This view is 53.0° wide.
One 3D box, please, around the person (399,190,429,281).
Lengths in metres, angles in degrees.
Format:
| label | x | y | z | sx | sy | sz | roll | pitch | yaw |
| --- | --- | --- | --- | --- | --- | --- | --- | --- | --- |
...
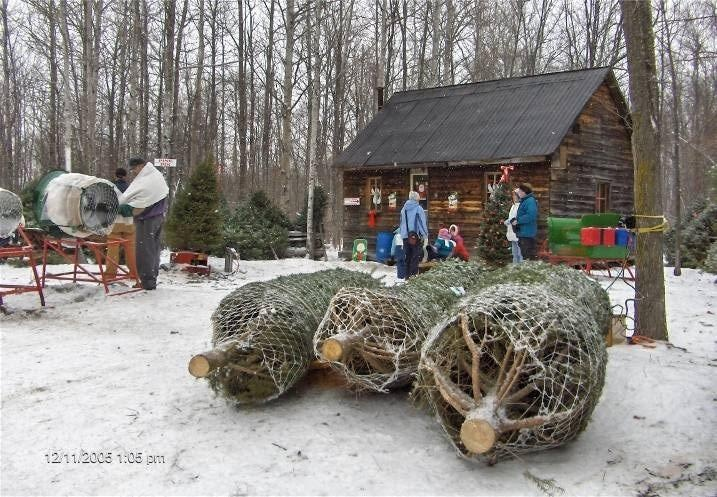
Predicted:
| label | x | y | z | sx | sy | sz | roll | pitch | yaw |
| --- | --- | --- | --- | --- | --- | --- | --- | --- | --- |
| person | 1.455 | -0.381 | 18.673 | 0.646 | 2.172 | 0.663 | 0 | 6 | -20 |

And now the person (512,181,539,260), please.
| label | x | y | z | sx | sy | sz | roll | pitch | yaw |
| --- | --- | --- | --- | --- | --- | --- | --- | --- | --- |
| person | 3.996 | -0.658 | 17.271 | 0.536 | 1.778 | 0.481 | 3 | 6 | 12 |

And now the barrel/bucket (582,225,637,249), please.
| label | x | y | z | sx | sy | sz | roll | pitch | yaw |
| --- | --- | --- | --- | --- | --- | --- | --- | --- | --- |
| barrel/bucket | 5.796 | -0.260 | 16.852 | 1.134 | 0.664 | 1.851 | 5 | 8 | 18 |

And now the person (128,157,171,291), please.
| label | x | y | z | sx | sy | sz | roll | pitch | yaw |
| --- | --- | --- | --- | --- | --- | --- | --- | --- | --- |
| person | -4.871 | -0.524 | 16.467 | 0.882 | 2.845 | 0.644 | -1 | 6 | -24 |
